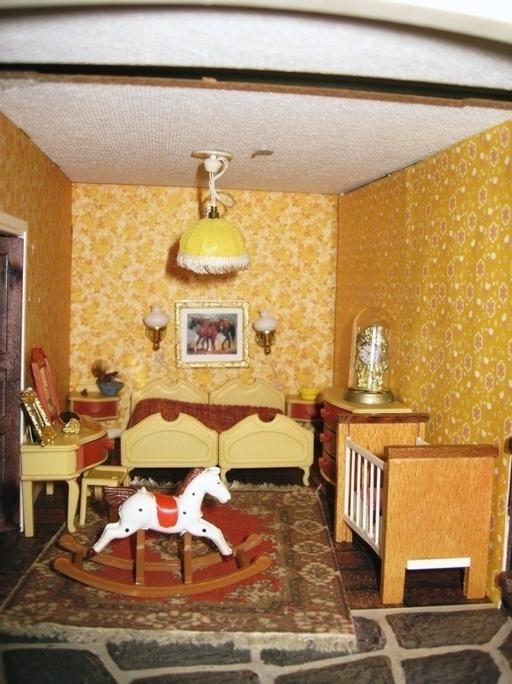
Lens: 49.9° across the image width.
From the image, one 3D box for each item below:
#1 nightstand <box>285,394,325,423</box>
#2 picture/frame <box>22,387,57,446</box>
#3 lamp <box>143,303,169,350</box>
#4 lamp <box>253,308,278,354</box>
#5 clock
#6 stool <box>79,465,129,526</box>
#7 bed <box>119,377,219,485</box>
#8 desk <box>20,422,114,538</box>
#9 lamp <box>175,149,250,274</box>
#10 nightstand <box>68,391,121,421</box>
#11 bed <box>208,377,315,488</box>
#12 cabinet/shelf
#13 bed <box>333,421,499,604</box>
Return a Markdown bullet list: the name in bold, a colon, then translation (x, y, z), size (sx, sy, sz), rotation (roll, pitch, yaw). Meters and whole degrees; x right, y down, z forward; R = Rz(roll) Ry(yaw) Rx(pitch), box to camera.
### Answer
- **nightstand**: translation (0.530, 0.691, 5.964), size (0.299, 0.269, 0.298), rotation (3, 5, 37)
- **picture/frame**: translation (-1.498, 0.504, 3.767), size (0.230, 0.382, 0.349), rotation (0, 5, -22)
- **lamp**: translation (-1.071, -0.141, 5.877), size (0.254, 0.483, 0.326), rotation (1, 4, -11)
- **lamp**: translation (0.099, -0.098, 6.091), size (0.282, 0.480, 0.269), rotation (0, -6, -31)
- **clock**: translation (0.878, 0.107, 4.387), size (0.342, 0.706, 0.495), rotation (0, 5, -26)
- **stool**: translation (-1.049, 1.043, 3.758), size (0.372, 0.341, 0.464), rotation (3, 4, -2)
- **bed**: translation (-0.768, 0.787, 5.189), size (0.751, 0.619, 1.020), rotation (1, 13, -2)
- **desk**: translation (-1.382, 0.951, 4.138), size (0.541, 0.581, 1.020), rotation (0, 2, -3)
- **lamp**: translation (-0.298, -0.922, 3.873), size (0.544, 0.772, 0.513), rotation (2, 18, 1)
- **nightstand**: translation (-1.698, 0.669, 5.758), size (0.506, 0.317, 0.404), rotation (1, 4, -14)
- **bed**: translation (0.170, 0.966, 5.384), size (0.826, 0.771, 1.292), rotation (-2, -12, 8)
- **cabinet/shelf**: translation (0.835, 0.603, 4.061), size (0.704, 0.705, 1.043), rotation (1, 9, 3)
- **bed**: translation (0.945, 0.973, 3.447), size (0.653, 0.881, 0.937), rotation (1, 4, -10)
